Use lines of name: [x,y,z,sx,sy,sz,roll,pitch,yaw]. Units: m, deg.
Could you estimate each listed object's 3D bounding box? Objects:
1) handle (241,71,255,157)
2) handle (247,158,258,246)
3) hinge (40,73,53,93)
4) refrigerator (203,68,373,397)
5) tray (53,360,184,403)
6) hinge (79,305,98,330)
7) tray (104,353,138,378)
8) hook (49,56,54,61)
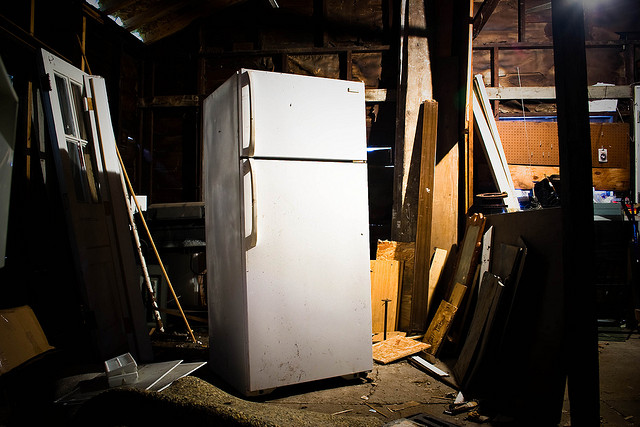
handle: [-0.602,-0.838,4.305,0.109,0.714,0.166,-1,11,-10]
handle: [-0.582,-0.070,4.360,0.041,0.815,0.170,-5,12,-25]
hinge: [-2.519,-1.203,4.695,0.094,0.177,0.057,-5,12,-26]
refrigerator: [-0.344,0.138,5.006,1.216,3.000,1.320,0,-2,-17]
tray: [-1.486,1.283,3.830,0.548,0.137,0.844,10,14,42]
hinge: [-2.123,0.963,4.688,0.145,0.223,0.044,0,10,-5]
tray: [-1.622,1.245,4.138,0.233,0.066,0.229,-6,14,-40]
hook: [-2.502,-1.445,4.760,0.004,0.039,0.054,4,11,16]
